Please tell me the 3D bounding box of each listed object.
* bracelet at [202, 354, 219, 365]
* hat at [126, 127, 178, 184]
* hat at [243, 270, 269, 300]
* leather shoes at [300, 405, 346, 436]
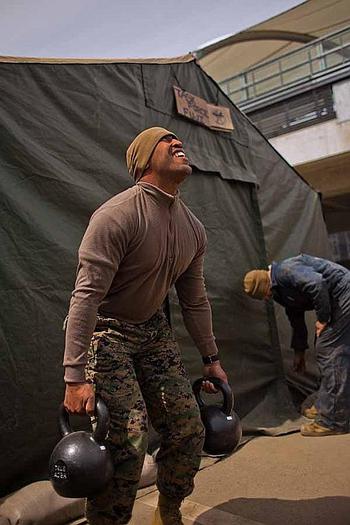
[{"bbox_3d":[0.173,0.470,2.118,0.061,0.032,0.067,-9,0,6],"label":"bracelet"},{"bbox_3d":[-0.075,-0.501,1.898,0.212,0.142,0.162,-25,-39,-7],"label":"hat"},{"bbox_3d":[0.664,0.206,3.675,0.208,0.180,0.250,14,-33,-29],"label":"hat"},{"bbox_3d":[1.182,1.293,3.448,0.320,0.262,0.137,5,-12,17],"label":"leather shoes"}]
